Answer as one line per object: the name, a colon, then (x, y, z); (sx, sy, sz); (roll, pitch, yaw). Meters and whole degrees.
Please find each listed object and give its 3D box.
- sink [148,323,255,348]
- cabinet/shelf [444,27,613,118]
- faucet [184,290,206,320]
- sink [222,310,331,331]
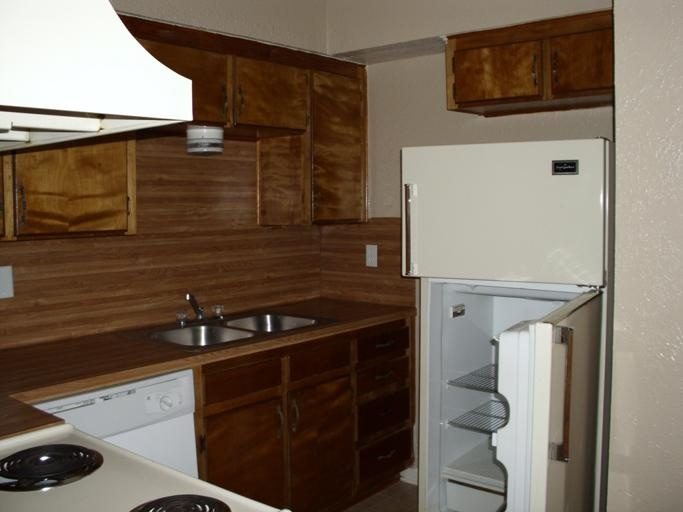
sink: (-0.788, 0.445, 3.102); (0.250, 0.083, 0.252); (8, 11, 43)
cabinet/shelf: (1.019, -1.033, 3.027); (0.898, 0.452, 0.342); (3, 8, 34)
faucet: (-0.840, 0.276, 3.185); (0.094, 0.160, 0.266); (-3, 6, -15)
sink: (-0.395, 0.416, 3.380); (0.532, 0.121, 0.275); (0, 6, 5)
